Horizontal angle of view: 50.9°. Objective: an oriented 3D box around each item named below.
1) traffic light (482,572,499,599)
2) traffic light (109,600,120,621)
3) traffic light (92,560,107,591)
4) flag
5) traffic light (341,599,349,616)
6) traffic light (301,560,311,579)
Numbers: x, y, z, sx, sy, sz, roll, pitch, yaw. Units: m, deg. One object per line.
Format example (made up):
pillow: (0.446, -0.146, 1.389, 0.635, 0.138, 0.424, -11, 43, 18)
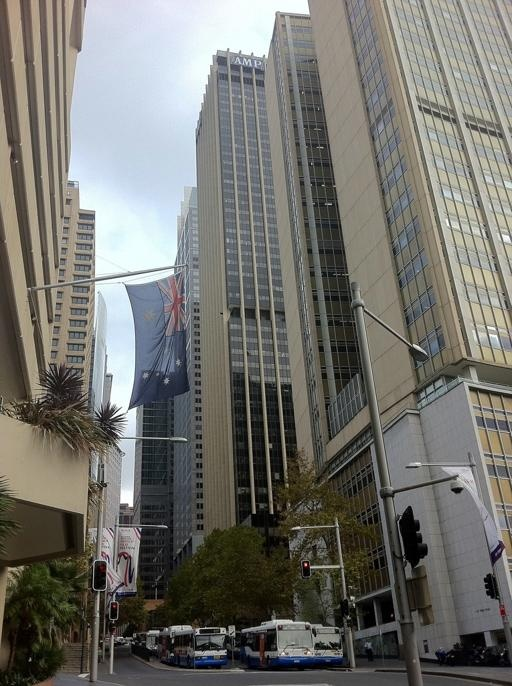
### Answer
traffic light: (10.623, 10.926, 24.311, 0.497, 0.989, 1.370, -12, -28, 20)
traffic light: (-7.676, 14.319, 28.951, 0.430, 0.927, 1.376, 6, -29, -18)
traffic light: (-5.235, 7.733, 17.993, 0.437, 0.940, 0.884, 6, -27, -18)
flag: (-3.169, -0.008, 17.375, 1.898, 0.168, 5.555, -4, -48, -14)
traffic light: (5.539, 16.510, 33.630, 0.434, 0.990, 1.083, -5, -26, 5)
traffic light: (2.835, 12.877, 30.791, 0.458, 0.910, 0.857, -2, -26, 0)
